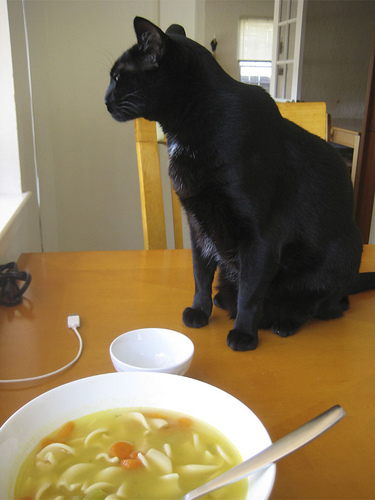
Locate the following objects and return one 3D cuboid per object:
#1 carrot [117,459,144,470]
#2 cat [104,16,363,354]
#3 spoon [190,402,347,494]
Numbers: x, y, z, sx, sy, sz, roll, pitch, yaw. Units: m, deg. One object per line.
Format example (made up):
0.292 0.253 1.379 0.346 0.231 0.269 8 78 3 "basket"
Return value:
-0.048 0.181 0.358 0.020 0.003 0.014 -1 14 -9 "carrot"
0.107 -0.126 0.729 0.426 0.527 0.248 -10 11 -30 "cat"
0.067 0.150 0.320 0.133 0.038 0.035 -7 15 -32 "spoon"
